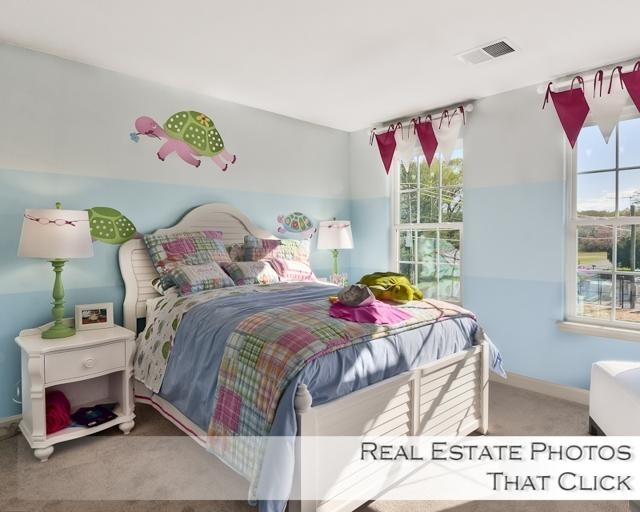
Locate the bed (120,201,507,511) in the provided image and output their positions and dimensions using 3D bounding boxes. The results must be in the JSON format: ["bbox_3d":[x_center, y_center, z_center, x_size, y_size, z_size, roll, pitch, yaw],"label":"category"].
[{"bbox_3d":[-0.309,0.510,3.096,1.601,1.119,1.822,-1,0,-44],"label":"bed"}]

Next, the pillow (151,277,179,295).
[{"bbox_3d":[-1.347,0.247,3.726,0.168,0.163,0.050,32,-17,29],"label":"pillow"}]

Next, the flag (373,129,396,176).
[{"bbox_3d":[0.772,-1.225,5.003,0.044,0.456,0.407,-8,5,-36],"label":"flag"}]

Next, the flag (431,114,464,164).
[{"bbox_3d":[1.329,-1.225,4.480,0.310,0.454,0.165,3,10,14],"label":"flag"}]

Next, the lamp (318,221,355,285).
[{"bbox_3d":[0.185,-0.075,5.260,0.421,0.763,0.396,-5,16,-9],"label":"lamp"}]

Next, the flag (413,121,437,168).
[{"bbox_3d":[1.148,-1.224,4.673,0.183,0.437,0.451,-10,-39,14],"label":"flag"}]

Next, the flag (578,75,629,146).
[{"bbox_3d":[2.330,-1.218,3.516,0.285,0.558,0.144,6,12,29],"label":"flag"}]

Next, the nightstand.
[{"bbox_3d":[-1.761,0.930,3.148,0.487,0.757,0.711,4,5,43],"label":"nightstand"}]

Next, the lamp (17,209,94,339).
[{"bbox_3d":[-1.924,0.114,3.101,0.457,0.956,0.399,8,12,35],"label":"lamp"}]

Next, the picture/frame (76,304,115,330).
[{"bbox_3d":[-1.769,0.474,3.349,0.194,0.154,0.021,-4,-11,-36],"label":"picture/frame"}]
